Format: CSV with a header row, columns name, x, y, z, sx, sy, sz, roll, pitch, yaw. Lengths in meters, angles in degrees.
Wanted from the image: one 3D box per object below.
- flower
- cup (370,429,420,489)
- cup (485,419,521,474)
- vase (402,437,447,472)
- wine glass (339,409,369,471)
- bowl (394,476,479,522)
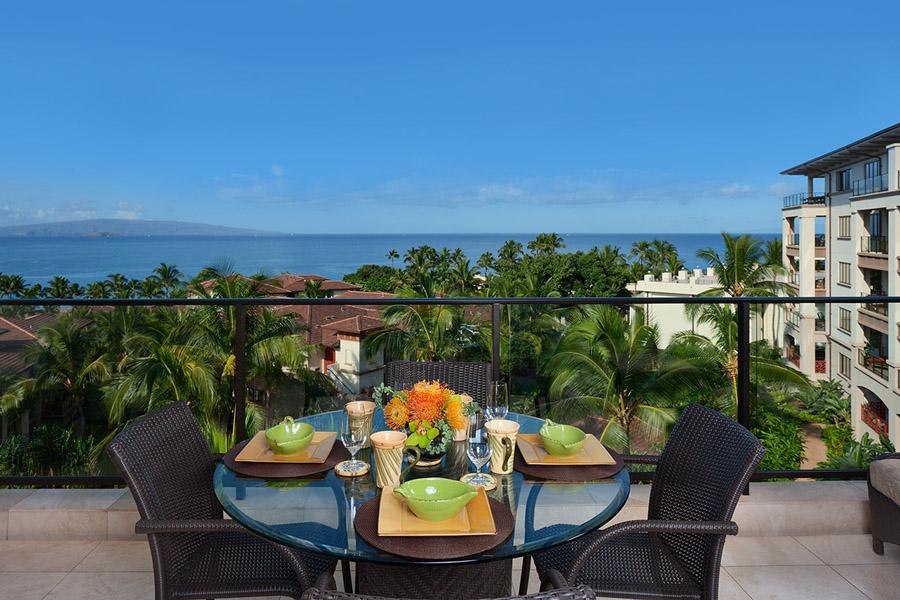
name,x,y,z,sx,sy,sz,roll,pitch,yaw
flower,-0.127,0.461,2.970,0.329,0.232,0.323,-13,20,-24
cup,-0.223,0.676,2.834,0.192,0.182,0.126,0,-4,26
cup,0.228,0.653,2.917,0.138,0.181,0.193,5,1,-6
vase,-0.110,0.656,2.938,0.149,0.094,0.135,0,-1,1
wine glass,-0.416,0.615,2.946,0.149,0.226,0.138,0,3,-37
bowl,-0.053,0.763,2.658,0.308,0.120,0.201,2,7,4
